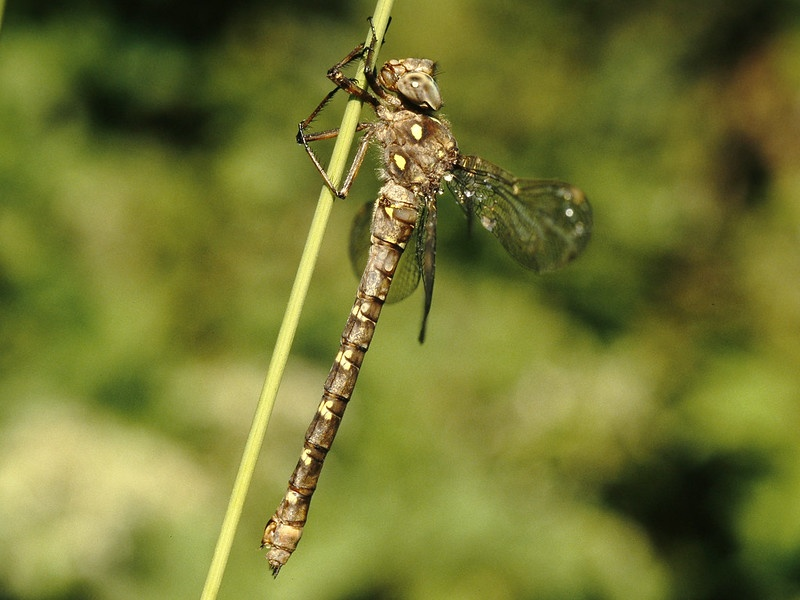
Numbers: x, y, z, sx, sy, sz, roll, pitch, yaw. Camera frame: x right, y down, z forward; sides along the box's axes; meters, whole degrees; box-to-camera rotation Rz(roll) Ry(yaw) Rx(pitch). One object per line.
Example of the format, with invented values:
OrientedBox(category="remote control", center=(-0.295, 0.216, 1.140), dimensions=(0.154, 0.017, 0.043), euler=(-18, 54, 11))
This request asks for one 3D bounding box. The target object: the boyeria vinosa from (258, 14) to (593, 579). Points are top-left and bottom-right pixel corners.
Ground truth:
OrientedBox(category="boyeria vinosa", center=(0.107, -0.248, 6.508), dimensions=(1.892, 0.717, 3.537), euler=(20, 101, -5))
